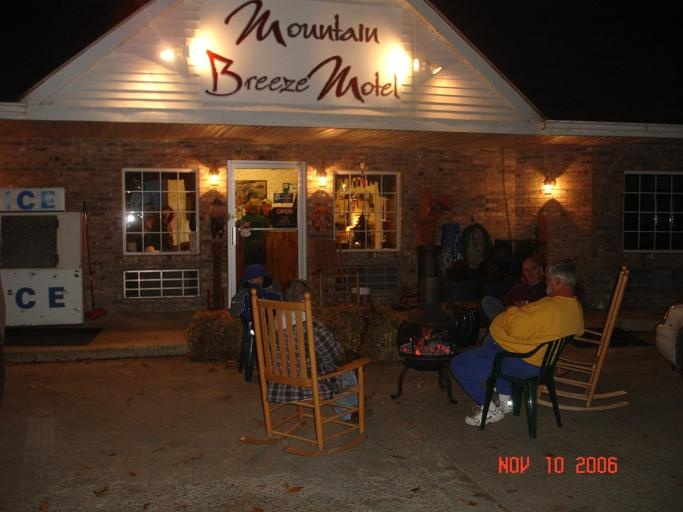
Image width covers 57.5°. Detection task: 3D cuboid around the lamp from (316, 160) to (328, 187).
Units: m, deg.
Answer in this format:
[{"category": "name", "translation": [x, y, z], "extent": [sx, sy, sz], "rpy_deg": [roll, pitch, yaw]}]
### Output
[{"category": "lamp", "translation": [-0.370, -1.676, 12.796], "extent": [0.238, 0.519, 0.140], "rpy_deg": [-2, 10, -9]}]

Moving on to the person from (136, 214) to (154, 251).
[{"category": "person", "translation": [-3.791, -0.456, 12.259], "extent": [0.241, 0.713, 0.137], "rpy_deg": [-3, 10, -16]}]

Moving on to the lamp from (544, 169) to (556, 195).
[{"category": "lamp", "translation": [4.488, -1.574, 13.391], "extent": [0.305, 0.557, 0.107], "rpy_deg": [3, 10, 22]}]

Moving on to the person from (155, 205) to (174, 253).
[{"category": "person", "translation": [-3.465, -0.545, 12.329], "extent": [0.291, 0.889, 0.153], "rpy_deg": [-3, 10, -15]}]

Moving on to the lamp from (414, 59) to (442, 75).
[{"category": "lamp", "translation": [1.456, -3.168, 10.495], "extent": [0.413, 0.172, 0.259], "rpy_deg": [3, 6, -33]}]

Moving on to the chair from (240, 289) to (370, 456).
[{"category": "chair", "translation": [-0.404, 1.131, 6.212], "extent": [0.948, 1.589, 1.150], "rpy_deg": [-2, -1, 40]}]

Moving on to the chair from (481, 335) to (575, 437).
[{"category": "chair", "translation": [1.971, 1.360, 6.554], "extent": [0.793, 0.841, 0.752], "rpy_deg": [-11, -3, -35]}]

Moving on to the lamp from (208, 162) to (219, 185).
[{"category": "lamp", "translation": [-2.522, -1.603, 12.285], "extent": [0.227, 0.433, 0.133], "rpy_deg": [-2, 10, -11]}]

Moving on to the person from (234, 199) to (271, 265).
[{"category": "person", "translation": [-1.768, -0.467, 12.531], "extent": [0.599, 1.284, 0.732], "rpy_deg": [0, 10, 5]}]

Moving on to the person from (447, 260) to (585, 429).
[{"category": "person", "translation": [1.900, 0.961, 6.702], "extent": [1.232, 1.755, 1.077], "rpy_deg": [7, 1, 18]}]

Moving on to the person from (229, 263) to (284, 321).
[{"category": "person", "translation": [-1.184, 0.467, 8.207], "extent": [0.524, 0.811, 0.832], "rpy_deg": [1, 19, 21]}]
